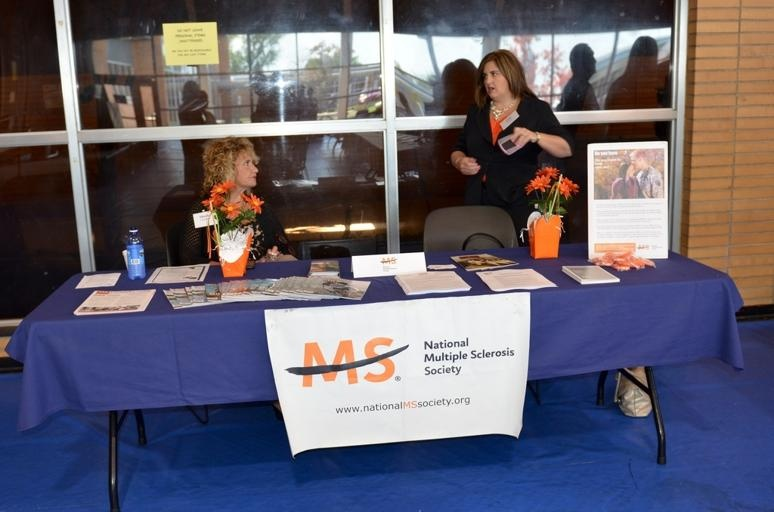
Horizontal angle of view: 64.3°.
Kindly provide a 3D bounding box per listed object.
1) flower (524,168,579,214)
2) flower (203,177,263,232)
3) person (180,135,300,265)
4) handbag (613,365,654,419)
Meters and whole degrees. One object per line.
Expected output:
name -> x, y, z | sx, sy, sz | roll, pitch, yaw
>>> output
flower -> 0.974, -0.399, 3.735 | 0.295, 0.229, 0.291 | -19, 22, -37
flower -> -0.944, -0.233, 3.616 | 0.277, 0.249, 0.286 | -10, -14, 20
person -> -0.910, -0.403, 4.437 | 0.820, 1.043, 0.968 | 8, 13, 39
handbag -> 1.638, 0.900, 4.046 | 0.191, 0.317, 0.287 | 4, -16, 33
